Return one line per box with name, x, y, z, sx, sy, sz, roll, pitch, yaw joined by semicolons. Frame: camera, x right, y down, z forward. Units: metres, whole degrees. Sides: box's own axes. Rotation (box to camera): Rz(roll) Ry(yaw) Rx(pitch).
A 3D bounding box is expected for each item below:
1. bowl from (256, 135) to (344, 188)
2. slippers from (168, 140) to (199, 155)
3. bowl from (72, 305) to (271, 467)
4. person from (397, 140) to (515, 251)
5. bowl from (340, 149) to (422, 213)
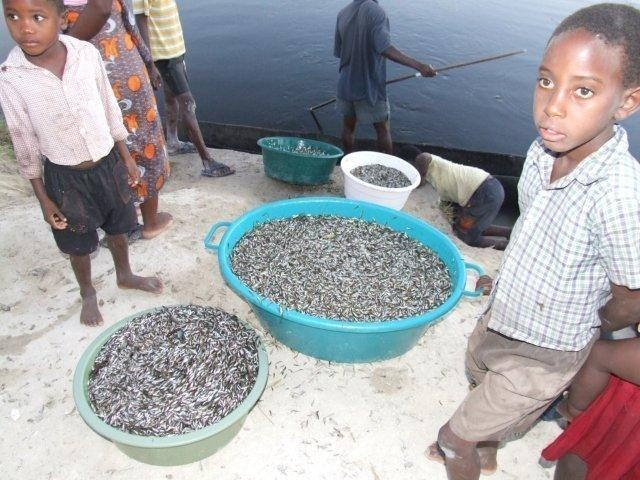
bowl;-0.262;-0.986;6.426;0.934;0.320;0.779;6;25;0
slippers;-1.952;-1.292;7.131;0.318;0.134;0.204;-8;17;-44
bowl;-1.093;1.100;3.625;1.241;0.532;0.992;21;42;27
person;1.809;-0.497;6.522;1.826;0.767;0.772;40;72;20
bowl;0.515;-0.602;5.737;0.965;0.320;0.886;6;36;-4
